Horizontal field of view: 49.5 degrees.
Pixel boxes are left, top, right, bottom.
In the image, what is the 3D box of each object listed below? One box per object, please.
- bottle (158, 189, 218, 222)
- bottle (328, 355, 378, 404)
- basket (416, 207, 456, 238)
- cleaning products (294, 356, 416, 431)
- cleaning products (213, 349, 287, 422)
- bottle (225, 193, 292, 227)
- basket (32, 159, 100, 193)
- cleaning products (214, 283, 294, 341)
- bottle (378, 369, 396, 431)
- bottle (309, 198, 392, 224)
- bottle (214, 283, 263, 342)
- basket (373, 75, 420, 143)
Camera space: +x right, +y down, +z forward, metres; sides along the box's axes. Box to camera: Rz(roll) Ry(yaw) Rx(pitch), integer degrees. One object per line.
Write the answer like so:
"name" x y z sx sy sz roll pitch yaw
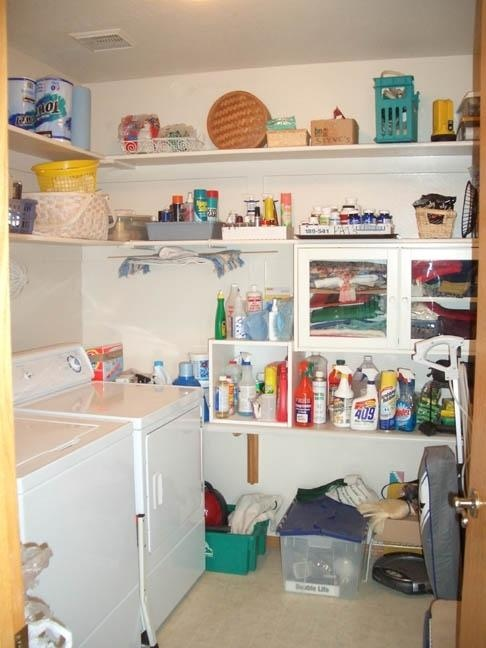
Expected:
"bottle" -0.246 -0.553 2.475 0.204 0.141 0.076 2 5 15
"bottle" 0.492 0.250 2.378 0.254 0.285 0.151 2 1 14
"basket" 0.766 -0.381 2.110 0.128 0.105 0.131 1 -2 15
"cleaning products" 0.493 0.318 2.308 0.323 0.234 0.105 3 5 32
"cleaning products" 0.052 0.255 2.491 0.379 0.367 0.410 0 3 8
"bottle" 0.076 -0.519 2.442 0.296 0.192 0.296 0 3 0
"basket" -0.727 -0.639 2.146 0.194 0.082 0.176 10 24 13
"cleaning products" 0.054 -0.052 2.403 0.308 0.234 0.235 2 1 31
"bottle" 0.626 0.329 2.279 0.079 0.251 0.100 1 3 18
"bottle" 0.447 -0.464 2.207 0.329 0.107 0.088 1 3 15
"bottle" -0.006 -0.050 2.428 0.240 0.307 0.218 1 -2 -2
"basket" 0.626 -0.878 2.150 0.189 0.266 0.159 -3 13 11
